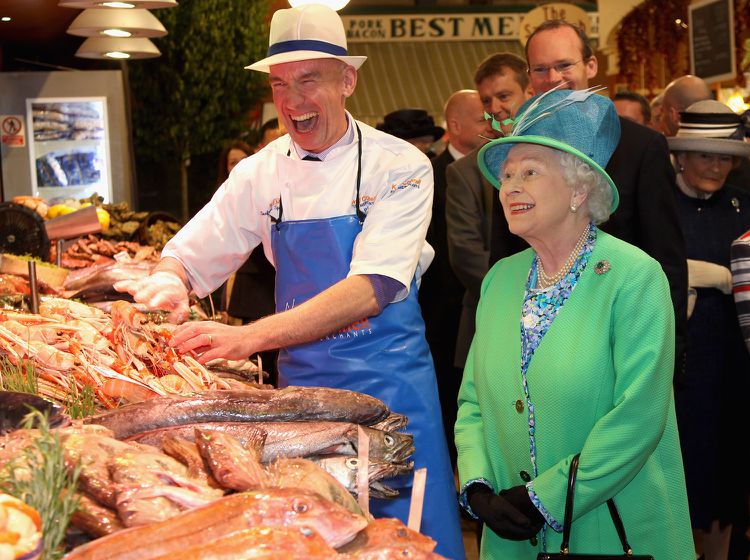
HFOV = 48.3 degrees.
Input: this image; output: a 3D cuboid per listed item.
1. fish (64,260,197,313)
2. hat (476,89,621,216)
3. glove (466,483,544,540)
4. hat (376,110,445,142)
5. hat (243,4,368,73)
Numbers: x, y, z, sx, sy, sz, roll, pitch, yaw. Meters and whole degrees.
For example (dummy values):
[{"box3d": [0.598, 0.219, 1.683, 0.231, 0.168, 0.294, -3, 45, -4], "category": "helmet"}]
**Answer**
[{"box3d": [-0.974, 0.015, 3.232, 0.473, 0.198, 0.376, 6, 6, 7], "category": "fish"}, {"box3d": [0.669, -0.493, 3.132, 0.604, 0.403, 0.649, 4, -5, -2], "category": "hat"}, {"box3d": [0.428, 0.772, 2.808, 0.266, 0.157, 0.169, -1, 3, 9], "category": "glove"}, {"box3d": [0.309, -1.207, 6.751, 0.516, 0.218, 0.614, 1, 1, 14], "category": "hat"}, {"box3d": [-0.231, -0.891, 3.183, 0.284, 0.155, 0.337, -1, 4, 16], "category": "hat"}]
